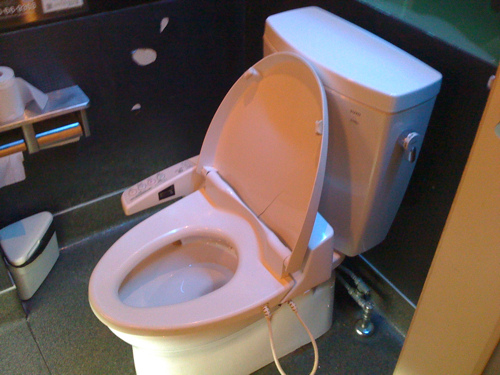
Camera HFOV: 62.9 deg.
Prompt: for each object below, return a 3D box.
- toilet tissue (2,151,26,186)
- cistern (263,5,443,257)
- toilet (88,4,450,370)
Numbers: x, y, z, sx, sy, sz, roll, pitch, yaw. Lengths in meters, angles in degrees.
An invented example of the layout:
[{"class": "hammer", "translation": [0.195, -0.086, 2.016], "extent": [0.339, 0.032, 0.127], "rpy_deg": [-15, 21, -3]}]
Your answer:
[{"class": "toilet tissue", "translation": [-0.801, -0.067, 1.379], "extent": [0.050, 0.098, 0.054], "rpy_deg": [-13, 57, -32]}, {"class": "cistern", "translation": [0.274, -0.144, 1.206], "extent": [0.247, 0.566, 0.461], "rpy_deg": [-24, 41, -27]}, {"class": "toilet", "translation": [-0.010, 0.128, 1.212], "extent": [0.916, 0.987, 0.598], "rpy_deg": [-26, 42, -28]}]
